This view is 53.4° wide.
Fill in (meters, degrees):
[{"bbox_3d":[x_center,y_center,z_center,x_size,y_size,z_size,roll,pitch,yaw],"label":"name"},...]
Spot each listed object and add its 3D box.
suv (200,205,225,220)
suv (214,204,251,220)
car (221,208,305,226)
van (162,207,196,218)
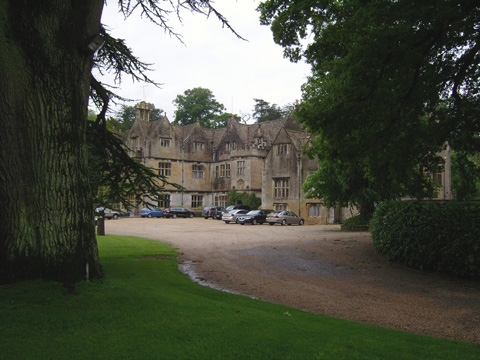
[{"bbox_3d":[-2.546,3.335,49.804,2.140,0.981,1.180,-3,2,-34],"label":"suv"},{"bbox_3d":[-0.476,3.074,47.583,3.271,1.402,1.560,3,-7,-31],"label":"suv"},{"bbox_3d":[2.014,3.211,41.356,6.606,1.303,2.700,2,-2,19],"label":"car"},{"bbox_3d":[-6.896,3.588,52.979,2.582,0.921,1.272,-1,0,-27],"label":"van"}]
